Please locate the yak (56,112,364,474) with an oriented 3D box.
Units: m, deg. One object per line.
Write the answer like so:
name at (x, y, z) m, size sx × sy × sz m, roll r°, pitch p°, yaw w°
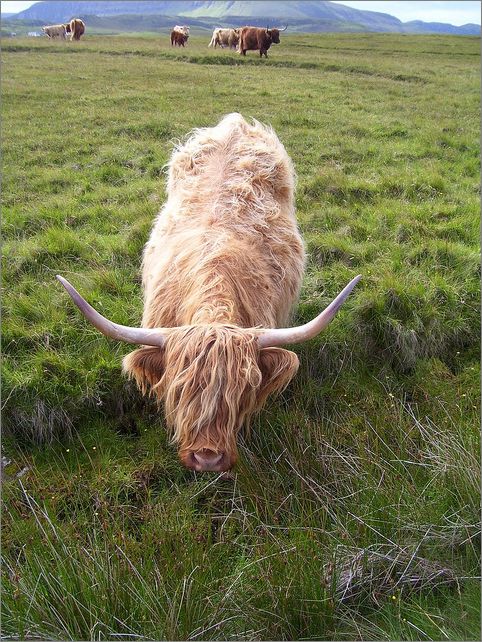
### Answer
yak at (-0.104, -0.280, 3.953) m, size 1.417 × 1.512 × 2.738 m, roll 3°, pitch 40°, yaw 2°
